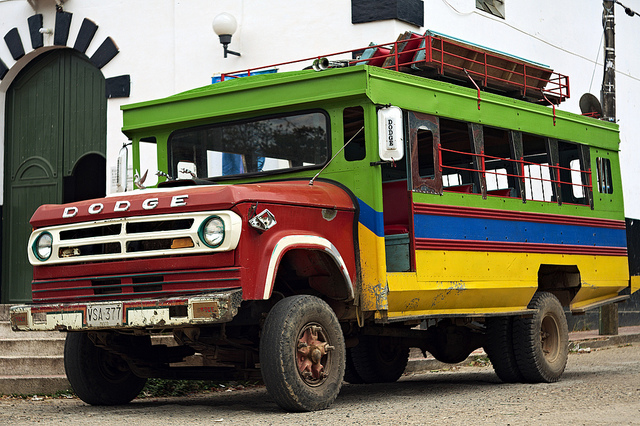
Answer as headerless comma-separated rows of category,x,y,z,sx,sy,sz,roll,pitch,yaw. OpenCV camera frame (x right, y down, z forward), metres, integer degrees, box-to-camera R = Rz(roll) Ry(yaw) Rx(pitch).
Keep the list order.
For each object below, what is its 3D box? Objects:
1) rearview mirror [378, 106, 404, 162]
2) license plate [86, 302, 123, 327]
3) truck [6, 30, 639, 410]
rearview mirror,0.935,-1.043,10.900,0.338,0.679,0.094,-3,-1,25
license plate,-2.600,1.232,10.286,0.545,0.290,0.068,0,6,20
truck,0.574,0.331,12.863,5.383,4.708,8.547,-11,-14,41
